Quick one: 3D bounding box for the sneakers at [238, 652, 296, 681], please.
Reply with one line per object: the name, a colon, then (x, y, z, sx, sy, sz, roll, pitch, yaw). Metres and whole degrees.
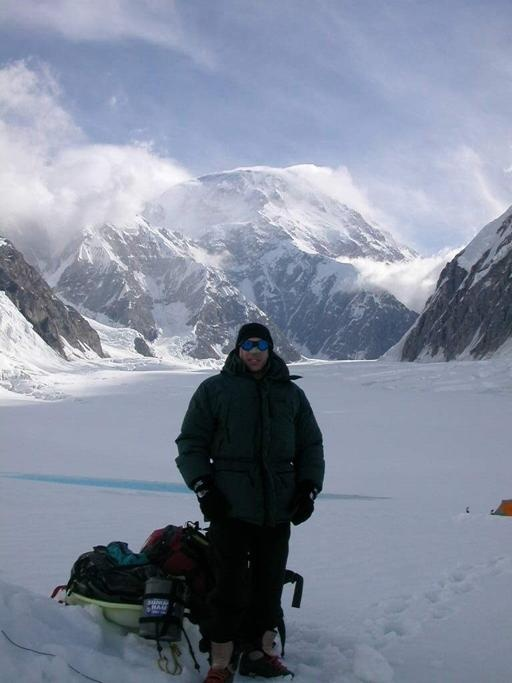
sneakers: (0.062, 2.295, 5.334, 0.460, 0.193, 0.142, -1, -12, 7)

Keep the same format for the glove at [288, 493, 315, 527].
glove: (0.344, 1.228, 5.583, 0.182, 0.239, 0.091, 36, -9, -33)

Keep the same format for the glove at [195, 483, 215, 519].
glove: (-0.334, 1.136, 5.397, 0.181, 0.224, 0.109, -7, -6, 35)
